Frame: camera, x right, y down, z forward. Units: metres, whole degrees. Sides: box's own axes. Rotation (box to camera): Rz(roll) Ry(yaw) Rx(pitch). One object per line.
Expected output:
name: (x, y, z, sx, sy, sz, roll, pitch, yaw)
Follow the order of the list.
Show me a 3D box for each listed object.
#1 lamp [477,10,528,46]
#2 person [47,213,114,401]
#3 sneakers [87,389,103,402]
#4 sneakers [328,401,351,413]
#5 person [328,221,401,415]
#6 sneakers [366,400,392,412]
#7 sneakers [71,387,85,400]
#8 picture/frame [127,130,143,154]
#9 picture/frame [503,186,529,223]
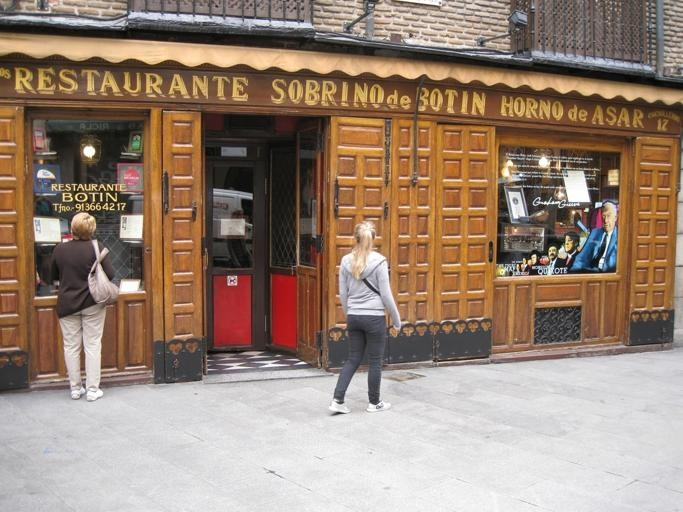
lamp: (2.632, -3.590, 12.017, 0.786, 0.535, 0.551, 7, 9, 41)
person: (-3.304, 0.646, 9.666, 0.769, 2.359, 0.400, -1, 7, -17)
sneakers: (-3.170, 1.763, 9.707, 0.091, 0.114, 0.257, 4, 10, 15)
sneakers: (-0.028, 1.853, 9.277, 0.122, 0.128, 0.279, 7, 0, 35)
person: (0.277, 0.759, 9.242, 0.807, 2.333, 0.464, 2, 6, 5)
sneakers: (0.460, 1.864, 9.424, 0.298, 0.117, 0.111, -6, 9, -31)
sneakers: (-3.404, 1.762, 9.784, 0.086, 0.109, 0.246, 3, 8, 6)
picture/frame: (-2.843, -1.568, 10.460, 0.198, 0.301, 0.042, 1, 6, -2)
picture/frame: (2.852, -0.849, 12.502, 0.446, 0.541, 0.035, -24, 5, -36)
